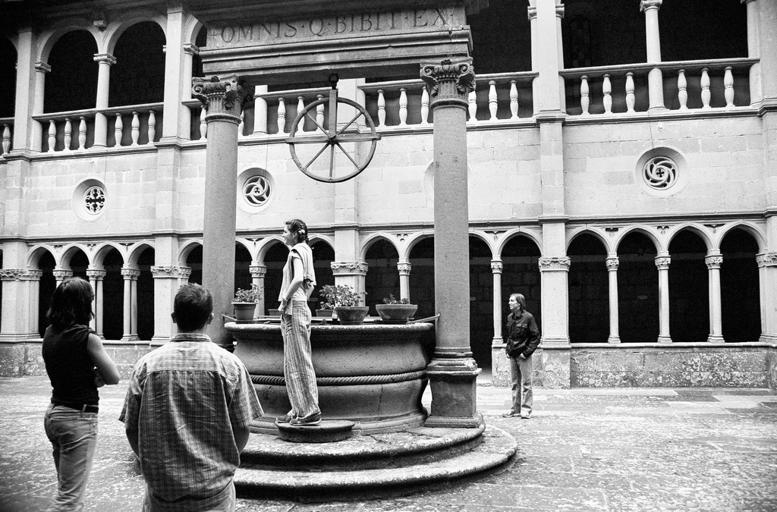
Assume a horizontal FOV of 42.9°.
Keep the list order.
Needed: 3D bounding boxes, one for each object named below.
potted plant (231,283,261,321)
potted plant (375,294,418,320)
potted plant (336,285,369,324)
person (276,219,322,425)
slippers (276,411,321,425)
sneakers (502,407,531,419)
[{"bbox_3d":[-2.754,0.889,18.186,0.585,0.658,0.541,-1,-9,11],"label":"potted plant"},{"bbox_3d":[0.102,0.927,17.790,0.576,0.345,0.569,1,-2,-6],"label":"potted plant"},{"bbox_3d":[-0.695,0.880,17.656,0.738,0.676,0.620,1,-14,-2],"label":"potted plant"},{"bbox_3d":[-1.549,1.120,16.750,0.651,3.309,0.872,-2,10,-6],"label":"person"},{"bbox_3d":[-1.534,2.759,16.764,0.732,0.269,0.266,2,-15,5],"label":"slippers"},{"bbox_3d":[2.554,3.066,19.569,0.650,0.231,0.205,1,-7,16],"label":"sneakers"}]
